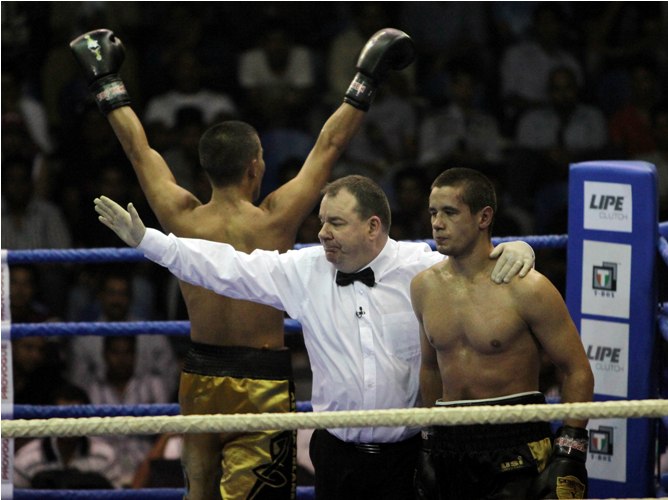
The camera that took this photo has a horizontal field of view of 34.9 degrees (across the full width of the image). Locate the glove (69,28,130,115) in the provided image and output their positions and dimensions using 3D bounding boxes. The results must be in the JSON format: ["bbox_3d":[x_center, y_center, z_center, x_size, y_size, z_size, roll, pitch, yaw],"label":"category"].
[{"bbox_3d":[-1.390,-1.051,6.106,0.377,0.208,0.535,-29,-15,-32],"label":"glove"}]

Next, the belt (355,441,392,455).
[{"bbox_3d":[0.199,1.040,5.575,0.185,0.048,0.013,-5,2,1],"label":"belt"}]
